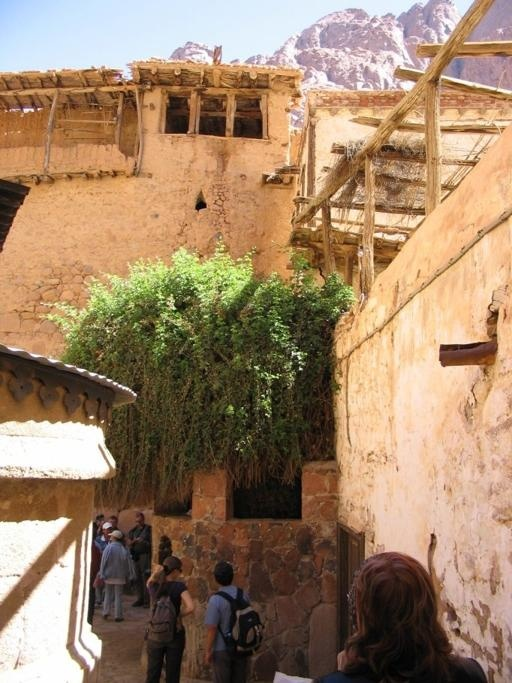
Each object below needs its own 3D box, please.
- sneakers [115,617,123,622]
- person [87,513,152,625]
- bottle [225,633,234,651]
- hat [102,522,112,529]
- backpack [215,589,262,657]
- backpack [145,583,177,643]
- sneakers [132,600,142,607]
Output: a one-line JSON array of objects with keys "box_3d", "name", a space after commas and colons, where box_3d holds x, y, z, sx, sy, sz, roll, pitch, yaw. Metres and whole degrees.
[{"box_3d": [-2.036, 4.147, 8.297, 0.053, 0.065, 0.154, 6, -31, 10], "name": "sneakers"}, {"box_3d": [-2.172, 3.612, 8.634, 0.601, 1.569, 1.516, 5, -6, -10], "name": "person"}, {"box_3d": [-0.228, 2.576, 4.771, 0.038, 0.103, 0.074, 2, -12, -5], "name": "bottle"}, {"box_3d": [-2.340, 2.913, 8.795, 0.133, 0.090, 0.178, -8, -9, -43], "name": "hat"}, {"box_3d": [-0.165, 2.485, 4.873, 0.410, 0.556, 0.197, 4, -6, -2], "name": "backpack"}, {"box_3d": [-0.890, 2.595, 5.251, 0.301, 0.508, 0.236, 4, -6, 1], "name": "backpack"}, {"box_3d": [-2.030, 4.477, 9.520, 0.128, 0.037, 0.104, -32, 29, 5], "name": "sneakers"}]
